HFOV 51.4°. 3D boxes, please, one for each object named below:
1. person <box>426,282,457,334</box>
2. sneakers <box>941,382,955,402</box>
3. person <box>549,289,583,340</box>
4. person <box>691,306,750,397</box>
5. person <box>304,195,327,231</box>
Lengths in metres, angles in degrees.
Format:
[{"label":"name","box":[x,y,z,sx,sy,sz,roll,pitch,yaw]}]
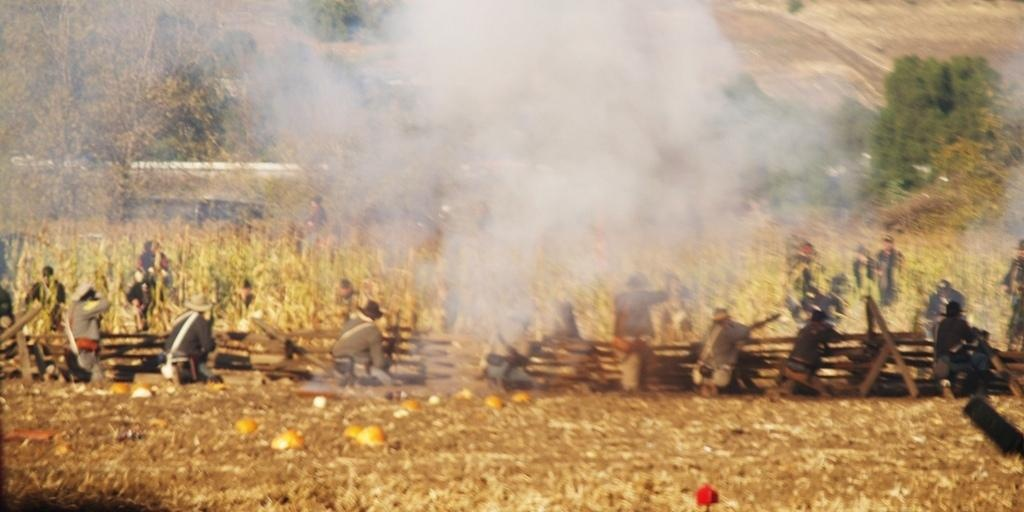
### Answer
[{"label":"person","box":[-1.794,1.420,29.283,0.801,1.238,0.283,2,2,-17]},{"label":"sneakers","box":[11.349,3.498,27.708,0.278,0.438,0.118,-11,-12,-1]},{"label":"person","box":[1.434,1.629,28.460,0.672,1.166,0.284,0,-15,4]},{"label":"person","box":[5.334,2.519,27.321,1.362,2.038,0.474,1,9,-15]},{"label":"person","box":[-5.544,-1.247,30.197,0.577,0.820,1.410,2,8,-11]}]
